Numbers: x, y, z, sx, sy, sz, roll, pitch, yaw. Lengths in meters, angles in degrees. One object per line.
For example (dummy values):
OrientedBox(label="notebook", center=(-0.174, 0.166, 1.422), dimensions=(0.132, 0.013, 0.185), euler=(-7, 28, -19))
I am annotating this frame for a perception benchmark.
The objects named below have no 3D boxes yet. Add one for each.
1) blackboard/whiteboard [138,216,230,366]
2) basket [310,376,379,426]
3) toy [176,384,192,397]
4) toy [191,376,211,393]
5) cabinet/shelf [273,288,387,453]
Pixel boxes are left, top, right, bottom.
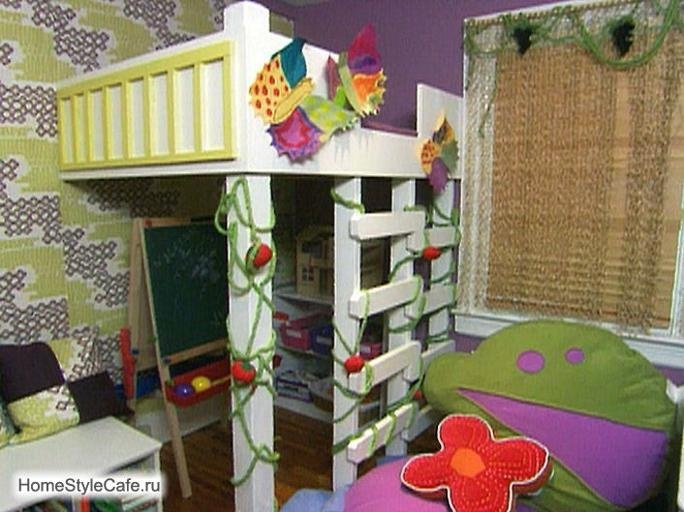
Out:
OrientedBox(label="blackboard/whiteboard", center=(-0.870, 0.176, 3.043), dimensions=(0.108, 0.896, 0.726), euler=(0, 4, 28))
OrientedBox(label="basket", center=(0.016, 0.879, 3.605), dimensions=(0.400, 0.164, 0.330), euler=(7, -7, -31))
OrientedBox(label="toy", center=(-0.826, 0.701, 2.962), dimensions=(0.054, 0.075, 0.060), euler=(-3, 2, 15))
OrientedBox(label="toy", center=(-0.755, 0.687, 3.033), dimensions=(0.073, 0.079, 0.073), euler=(-7, 14, -42))
OrientedBox(label="cabinet/shelf", center=(-0.129, 0.648, 3.475), dimensions=(0.877, 0.671, 0.592), euler=(4, 5, 43))
